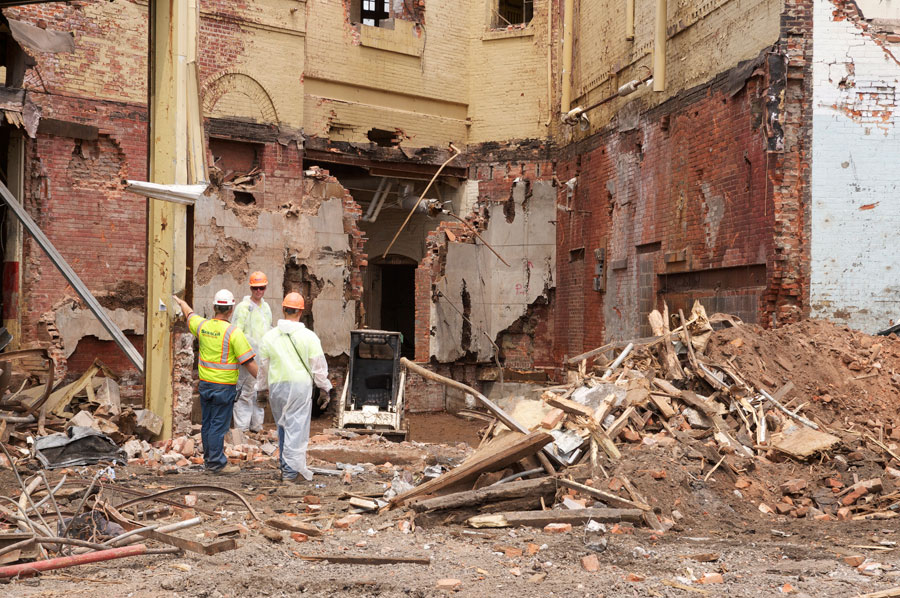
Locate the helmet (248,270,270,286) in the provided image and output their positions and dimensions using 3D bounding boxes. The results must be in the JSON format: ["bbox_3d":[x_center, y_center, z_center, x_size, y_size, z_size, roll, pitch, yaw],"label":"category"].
[{"bbox_3d":[-3.372,-0.334,22.519,0.415,0.255,0.566,-1,2,-13],"label":"helmet"}]

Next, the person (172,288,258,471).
[{"bbox_3d":[-3.769,1.329,20.485,1.175,2.913,1.392,3,-7,-14],"label":"person"}]

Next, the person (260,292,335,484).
[{"bbox_3d":[-2.454,1.397,20.152,1.130,2.960,0.485,2,-7,-4],"label":"person"}]

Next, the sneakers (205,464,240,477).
[{"bbox_3d":[-3.626,2.748,20.399,0.552,0.223,0.194,-1,3,-14],"label":"sneakers"}]

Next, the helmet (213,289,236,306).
[{"bbox_3d":[-3.620,-0.008,20.458,0.324,0.213,0.436,0,7,-11],"label":"helmet"}]

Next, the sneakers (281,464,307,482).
[{"bbox_3d":[-2.392,2.752,20.058,0.177,0.230,0.519,2,2,30],"label":"sneakers"}]
